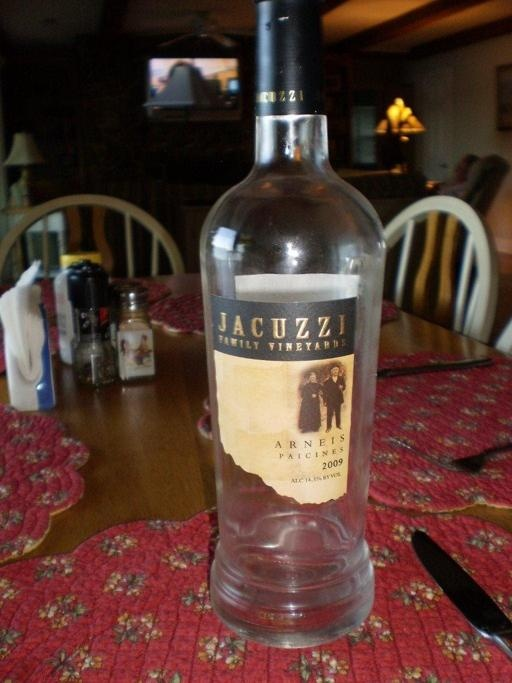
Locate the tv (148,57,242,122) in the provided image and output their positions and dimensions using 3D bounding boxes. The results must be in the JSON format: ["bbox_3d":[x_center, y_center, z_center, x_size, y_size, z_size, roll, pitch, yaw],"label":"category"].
[{"bbox_3d":[-0.306,-1.230,2.815,0.378,0.324,0.084,0,1,4],"label":"tv"}]
